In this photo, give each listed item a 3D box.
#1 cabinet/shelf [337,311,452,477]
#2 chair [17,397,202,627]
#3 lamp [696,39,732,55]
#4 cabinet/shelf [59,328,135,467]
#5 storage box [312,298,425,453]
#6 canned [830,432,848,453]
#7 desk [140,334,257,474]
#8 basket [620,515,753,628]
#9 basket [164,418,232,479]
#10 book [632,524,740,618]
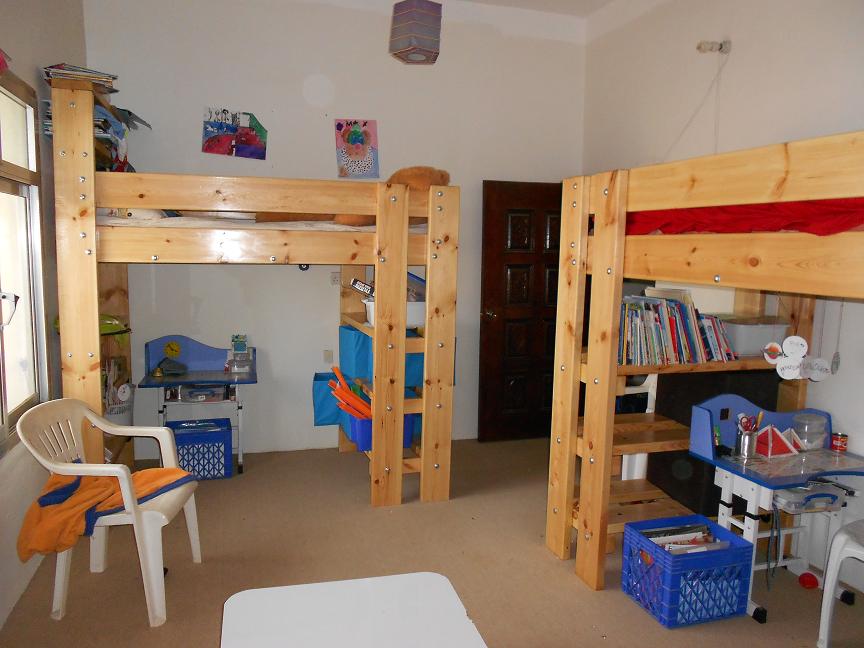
[{"bbox_3d":[-0.228,0.439,4.387,0.439,1.105,1.125,1,1,-13],"label":"cabinet/shelf"},{"bbox_3d":[-1.576,0.923,3.435,0.781,0.971,0.821,7,10,24],"label":"chair"},{"bbox_3d":[1.741,-1.730,4.189,0.186,0.087,0.114,-2,24,-8],"label":"lamp"},{"bbox_3d":[-1.977,0.430,3.938,0.329,0.932,0.923,0,-3,-11],"label":"cabinet/shelf"},{"bbox_3d":[-0.521,0.427,4.841,0.912,1.105,1.111,2,5,-13],"label":"storage box"},{"bbox_3d":[2.127,0.627,3.571,0.087,0.098,0.088,0,-1,9],"label":"canned"},{"bbox_3d":[-1.689,0.559,4.856,0.814,0.885,0.555,0,9,-12],"label":"desk"},{"bbox_3d":[1.279,1.188,3.397,0.483,0.342,0.482,1,2,-20],"label":"basket"},{"bbox_3d":[-1.581,0.867,4.653,0.468,0.440,0.471,0,1,-16],"label":"basket"},{"bbox_3d":[1.277,1.231,3.410,0.545,0.375,0.400,-3,14,-17],"label":"book"}]
